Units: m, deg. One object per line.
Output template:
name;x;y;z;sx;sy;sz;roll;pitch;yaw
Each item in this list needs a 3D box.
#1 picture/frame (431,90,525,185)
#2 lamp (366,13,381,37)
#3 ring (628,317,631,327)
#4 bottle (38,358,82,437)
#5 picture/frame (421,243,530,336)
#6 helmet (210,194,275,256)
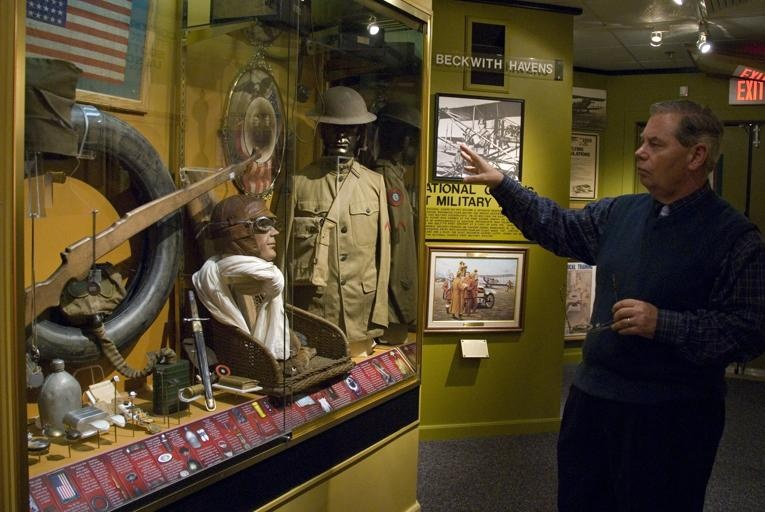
picture/frame;0.654;-0.894;4.106;0.888;0.769;0.032;1;4;-13
lamp;-0.048;-1.127;2.753;0.028;0.082;0.082;30;22;37
ring;0.967;0.256;2.218;0.009;0.027;0.015;-6;7;-26
bottle;-1.162;0.497;2.000;0.119;0.246;0.113;-3;6;0
picture/frame;0.692;0.240;4.421;0.711;0.615;0.062;0;6;-6
helmet;-0.595;-0.128;2.466;0.257;0.236;0.224;0;6;-4
